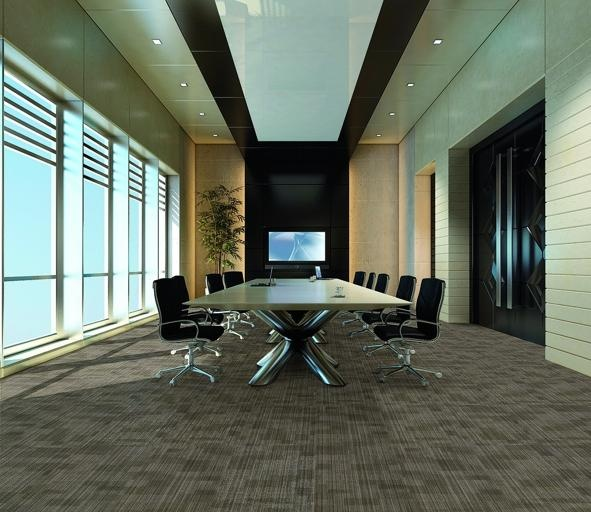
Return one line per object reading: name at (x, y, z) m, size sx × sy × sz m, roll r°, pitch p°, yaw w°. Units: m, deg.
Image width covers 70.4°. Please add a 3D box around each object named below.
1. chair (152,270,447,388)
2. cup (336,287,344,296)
chair at (0.046, 0.741, 4.773) m, size 2.892 × 1.087 × 2.349 m, roll 0°, pitch 3°, yaw 3°
cup at (0.491, 0.387, 4.638) m, size 0.049 × 0.093 × 0.093 m, roll 0°, pitch 0°, yaw 10°
